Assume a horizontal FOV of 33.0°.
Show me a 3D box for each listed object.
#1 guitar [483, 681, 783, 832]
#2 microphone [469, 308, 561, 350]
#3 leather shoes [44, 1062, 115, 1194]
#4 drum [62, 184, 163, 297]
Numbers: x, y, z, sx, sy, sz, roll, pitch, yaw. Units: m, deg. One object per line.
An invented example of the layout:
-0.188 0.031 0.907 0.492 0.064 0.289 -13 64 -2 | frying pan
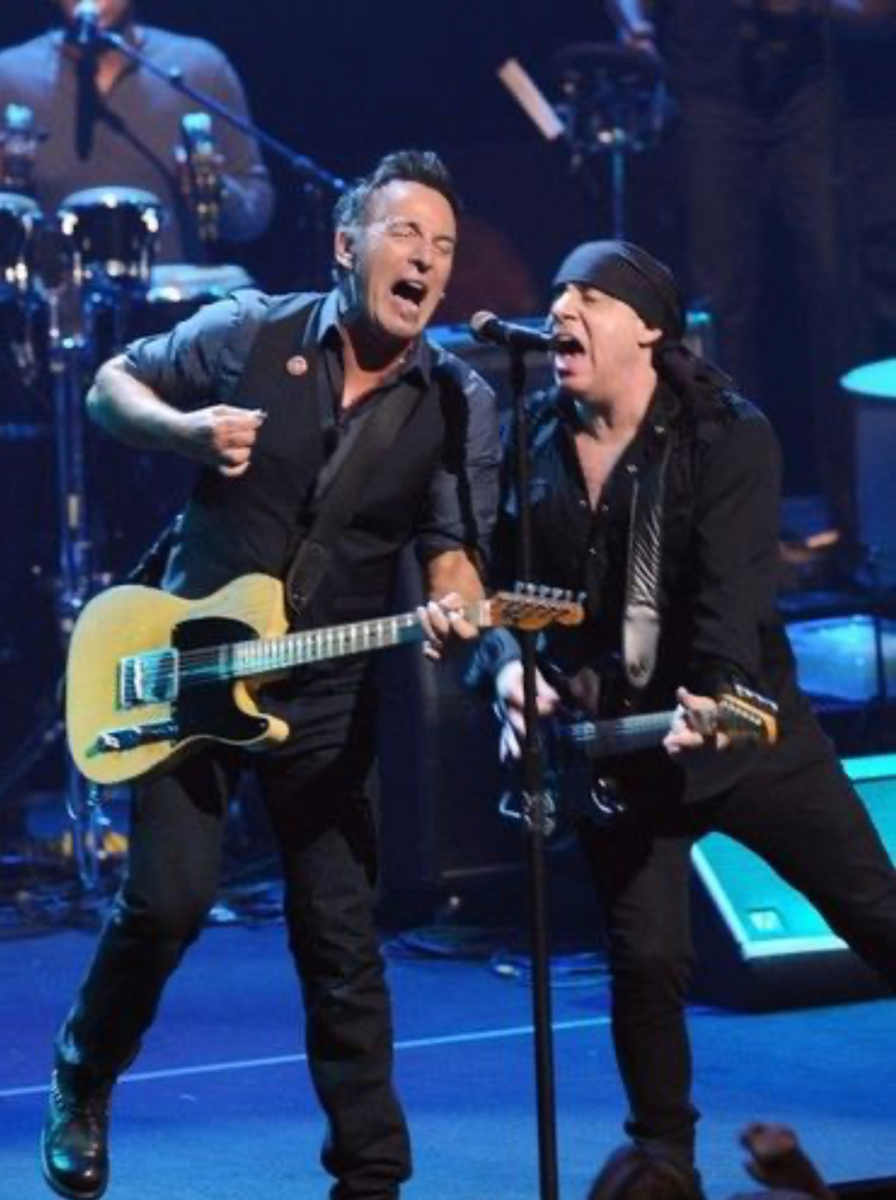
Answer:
0.337 0.322 2.964 0.406 0.386 0.553 -3 10 -17 | guitar
0.149 -0.556 3.038 0.082 0.071 0.235 24 -1 -38 | microphone
-0.780 1.102 3.159 0.111 0.116 0.308 12 15 -25 | leather shoes
-1.272 -1.368 5.764 0.454 0.398 0.438 -9 14 -39 | drum
